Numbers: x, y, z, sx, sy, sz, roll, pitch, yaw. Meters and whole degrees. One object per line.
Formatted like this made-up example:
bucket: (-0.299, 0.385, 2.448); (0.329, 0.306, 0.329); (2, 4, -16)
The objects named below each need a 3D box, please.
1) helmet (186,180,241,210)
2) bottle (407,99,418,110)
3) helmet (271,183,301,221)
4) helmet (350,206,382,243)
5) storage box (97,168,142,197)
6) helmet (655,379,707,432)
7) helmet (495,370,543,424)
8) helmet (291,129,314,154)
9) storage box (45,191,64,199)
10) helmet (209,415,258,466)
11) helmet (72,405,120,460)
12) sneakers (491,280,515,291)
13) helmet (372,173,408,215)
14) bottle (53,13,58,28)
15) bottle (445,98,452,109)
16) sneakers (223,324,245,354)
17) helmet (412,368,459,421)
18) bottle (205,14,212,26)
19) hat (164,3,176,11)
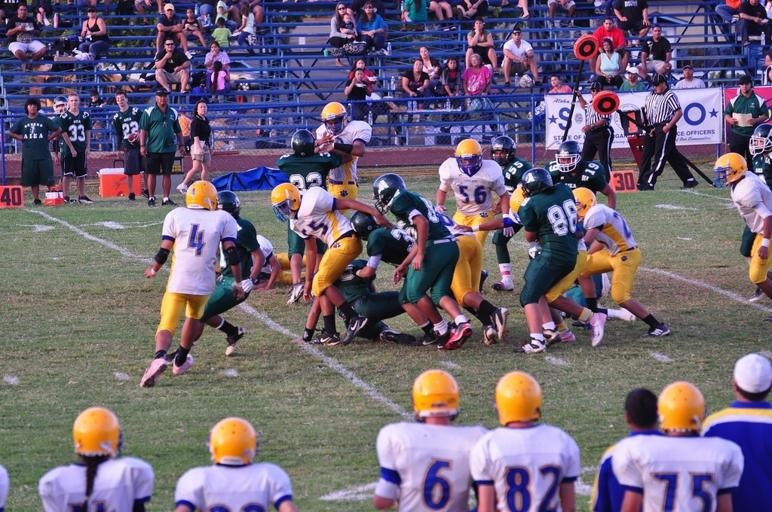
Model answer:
helmet: (-2.427, -0.819, 21.354); (0.415, 0.273, 0.614); (2, -9, 20)
bottle: (0.558, -3.207, 33.130); (0.279, 0.228, 0.209); (2, 3, 3)
helmet: (-1.437, -0.774, 22.255); (0.410, 0.504, 0.382); (1, 3, -4)
helmet: (-0.309, -0.437, 21.894); (0.361, 0.399, 0.302); (12, 9, -14)
storage box: (-5.282, -1.424, 30.405); (0.826, 0.502, 0.582); (-2, 14, -15)
helmet: (3.433, 1.741, 18.203); (0.465, 0.539, 0.572); (3, 34, 10)
helmet: (1.524, 1.658, 18.073); (0.452, 0.483, 0.606); (-2, 16, 0)
helmet: (-1.285, -1.720, 23.613); (0.326, 0.366, 0.323); (1, -5, -7)
storage box: (-6.348, -1.168, 29.822); (0.423, 0.134, 0.255); (-2, 5, -41)
helmet: (-1.782, 2.178, 17.919); (0.482, 0.423, 0.548); (2, 35, -5)
helmet: (-3.371, 2.059, 18.036); (0.485, 0.495, 0.565); (2, 14, -16)
sneakers: (1.752, 0.484, 23.659); (0.350, 0.130, 0.132); (14, -13, -11)
helmet: (0.023, -0.876, 21.999); (0.421, 0.555, 0.650); (1, 3, -5)
bottle: (-7.446, -5.335, 35.085); (0.112, 0.313, 0.136); (3, 6, -1)
bottle: (1.283, -3.215, 33.021); (0.172, 0.197, 0.121); (1, 3, -5)
sneakers: (-2.133, 1.186, 21.757); (0.235, 0.482, 0.165); (14, 33, -1)
helmet: (0.553, 1.629, 18.076); (0.469, 0.491, 0.606); (-1, 9, -4)
bottle: (-4.035, -5.333, 35.006); (0.175, 0.232, 0.090); (-1, 7, -37)
hat: (-4.777, -5.473, 34.114); (0.207, 0.109, 0.284); (2, 11, -12)
